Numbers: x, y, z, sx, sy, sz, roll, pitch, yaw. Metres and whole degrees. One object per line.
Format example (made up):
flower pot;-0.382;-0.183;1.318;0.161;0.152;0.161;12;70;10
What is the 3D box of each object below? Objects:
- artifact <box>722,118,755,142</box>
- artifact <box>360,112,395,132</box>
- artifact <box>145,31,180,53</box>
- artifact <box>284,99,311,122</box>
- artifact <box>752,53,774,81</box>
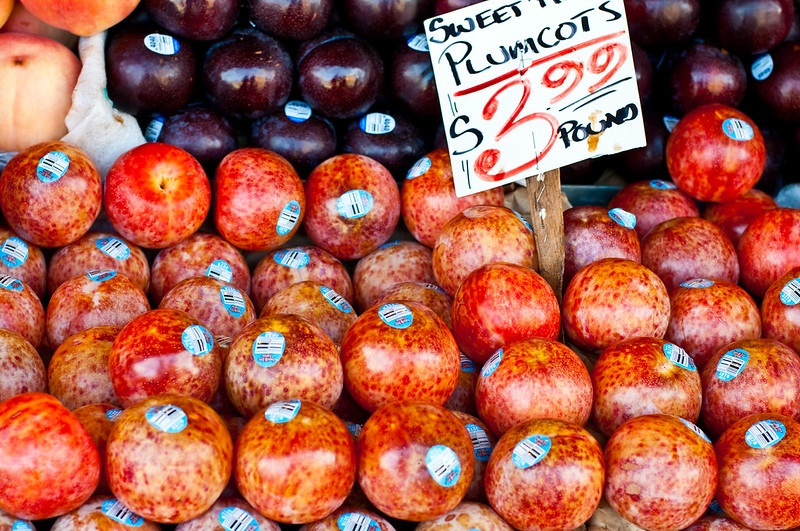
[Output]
artifact;1.399;-0.560;3.011;0.133;0.033;0.116;13;57;6
artifact;-0.095;-0.597;3.063;0.149;0.028;0.093;-1;57;-3
artifact;-0.947;-0.875;2.871;0.109;0.027;0.086;10;66;-28
artifact;-0.431;-0.642;3.038;0.109;0.025;0.109;27;60;15
artifact;1.663;-0.903;3.331;0.071;0.082;0.101;2;55;0
